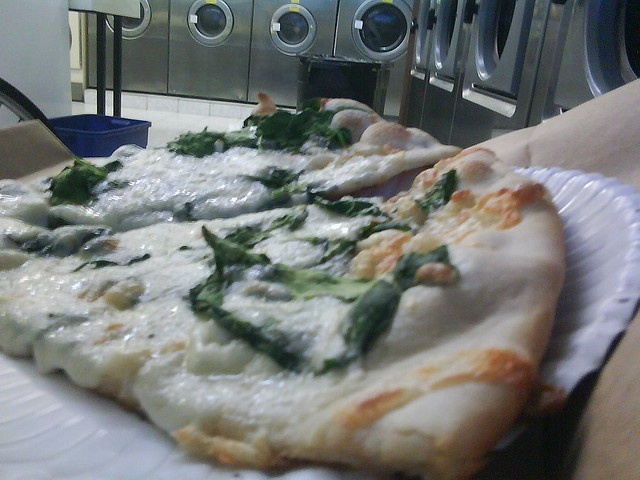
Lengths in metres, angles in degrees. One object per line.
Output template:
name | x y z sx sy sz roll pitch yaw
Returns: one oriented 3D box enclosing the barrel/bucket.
barrel/bucket | 0.140 -0.974 3.152 0.535 0.378 0.308 -6 20 -9
